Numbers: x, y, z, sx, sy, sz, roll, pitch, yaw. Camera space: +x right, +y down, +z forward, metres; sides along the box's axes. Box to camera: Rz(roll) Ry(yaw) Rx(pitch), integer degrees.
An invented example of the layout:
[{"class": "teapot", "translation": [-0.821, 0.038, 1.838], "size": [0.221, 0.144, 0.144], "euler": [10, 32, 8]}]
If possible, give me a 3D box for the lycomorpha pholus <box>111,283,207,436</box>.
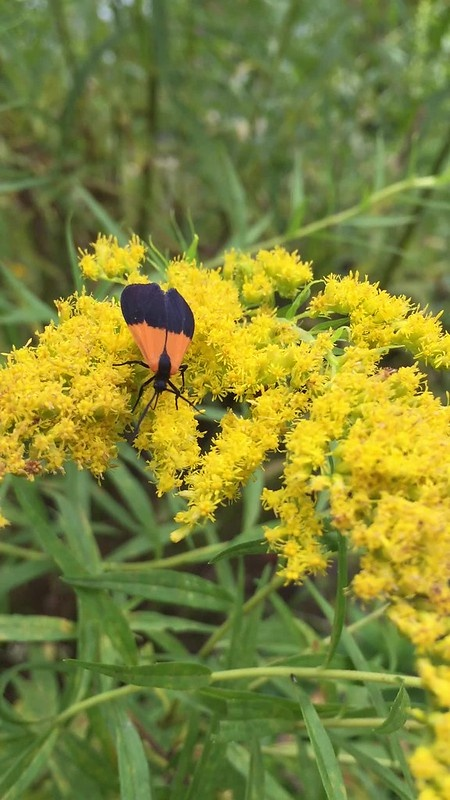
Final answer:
[{"class": "lycomorpha pholus", "translation": [-0.112, -0.064, 1.244], "size": [0.212, 0.286, 0.092], "euler": [21, 41, 23]}]
